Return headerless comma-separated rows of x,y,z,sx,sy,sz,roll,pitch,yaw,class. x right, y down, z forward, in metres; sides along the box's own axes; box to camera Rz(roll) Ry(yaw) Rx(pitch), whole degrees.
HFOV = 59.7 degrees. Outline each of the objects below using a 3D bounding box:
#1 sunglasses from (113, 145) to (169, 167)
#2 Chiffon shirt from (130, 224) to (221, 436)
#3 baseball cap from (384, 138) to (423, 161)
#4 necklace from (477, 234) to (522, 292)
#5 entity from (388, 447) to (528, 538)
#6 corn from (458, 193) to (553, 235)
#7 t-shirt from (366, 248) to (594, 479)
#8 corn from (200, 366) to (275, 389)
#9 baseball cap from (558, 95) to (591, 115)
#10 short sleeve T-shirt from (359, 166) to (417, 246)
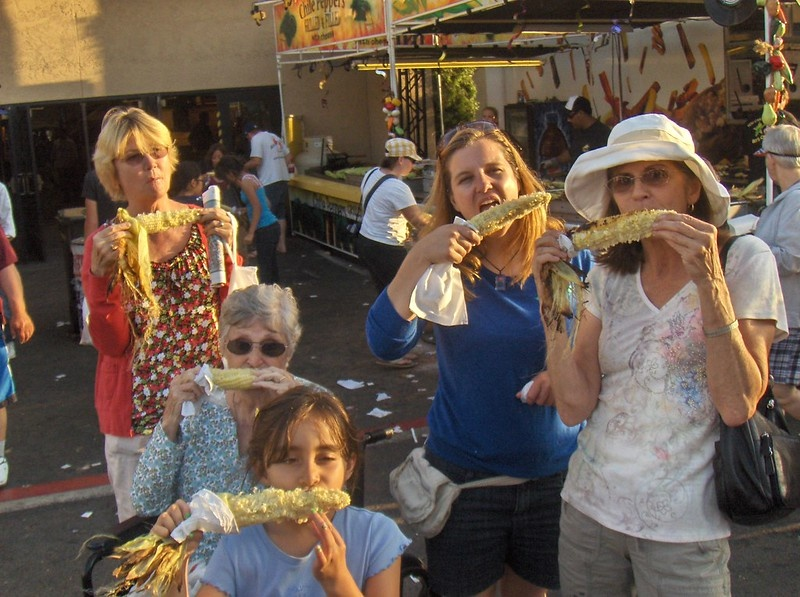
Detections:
-1.296,-0.720,3.501,0.135,0.039,0.133,-15,0,-33,sunglasses
-1.151,0.151,3.595,0.512,0.942,0.303,6,-8,-18,Chiffon shirt
0.036,-1.714,7.966,0.340,0.170,0.228,-3,19,-14,baseball cap
0.446,-0.156,3.063,0.167,0.229,0.075,-12,-1,-7,necklace
0.235,0.835,3.081,0.483,0.225,0.355,4,13,-18,entity
0.424,-0.358,2.933,0.378,0.112,0.093,-21,0,-2,corn
0.297,0.226,3.269,1.098,0.884,1.194,-6,44,9,t-shirt
-0.664,0.327,2.865,0.281,0.088,0.091,4,0,-5,corn
2.871,-3.179,11.614,0.540,0.303,0.388,8,20,12,baseball cap
-0.186,-1.056,8.115,0.862,0.813,0.470,19,16,36,short sleeve T-shirt
